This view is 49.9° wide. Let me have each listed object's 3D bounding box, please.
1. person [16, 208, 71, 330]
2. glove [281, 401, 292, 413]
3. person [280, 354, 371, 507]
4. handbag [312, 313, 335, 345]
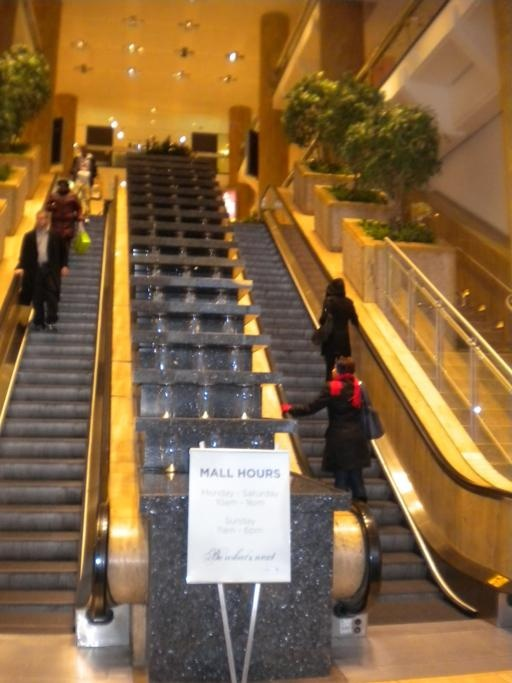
[{"bbox_3d":[-2.557,-0.834,6.484,0.503,1.343,0.516,-4,14,-24],"label":"person"},{"bbox_3d":[0.229,0.525,4.216,0.093,0.044,0.126,-1,22,1],"label":"glove"},{"bbox_3d":[0.613,0.705,4.374,0.591,1.065,0.509,4,13,13],"label":"person"},{"bbox_3d":[0.705,-0.123,5.712,0.075,0.300,0.205,31,-12,-40],"label":"handbag"}]
